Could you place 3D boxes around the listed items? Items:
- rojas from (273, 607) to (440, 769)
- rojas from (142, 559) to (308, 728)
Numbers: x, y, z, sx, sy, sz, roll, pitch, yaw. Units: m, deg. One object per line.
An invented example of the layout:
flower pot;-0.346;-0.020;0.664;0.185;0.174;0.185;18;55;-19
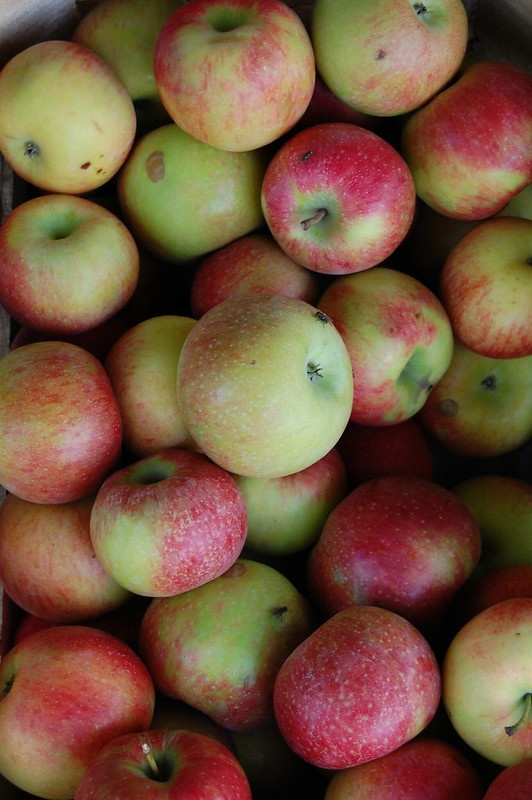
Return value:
rojas;0.107;0.324;0.918;0.157;0.154;0.199;38;79;10
rojas;-0.051;0.310;1.051;0.212;0.213;0.211;27;73;9
